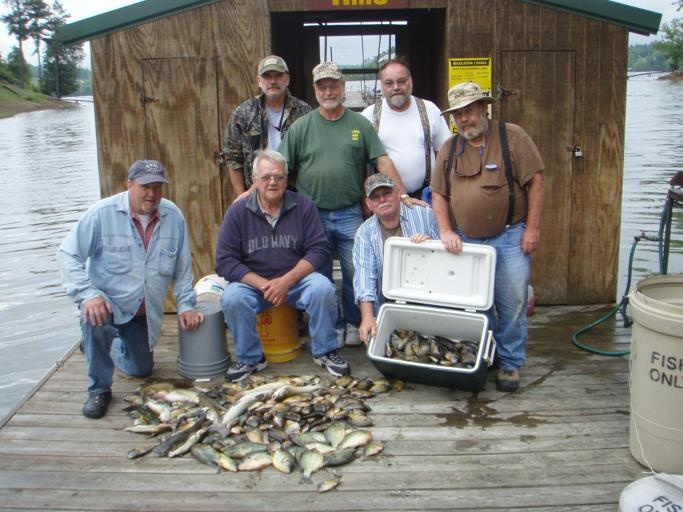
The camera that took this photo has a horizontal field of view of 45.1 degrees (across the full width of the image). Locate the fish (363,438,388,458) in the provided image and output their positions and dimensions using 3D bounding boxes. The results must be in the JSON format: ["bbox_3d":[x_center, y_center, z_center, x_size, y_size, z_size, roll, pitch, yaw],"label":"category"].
[{"bbox_3d":[0.274,1.608,6.901,0.144,0.070,0.222,9,18,36],"label":"fish"}]

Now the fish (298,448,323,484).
[{"bbox_3d":[-0.269,1.700,6.715,0.180,0.147,0.258,6,17,29],"label":"fish"}]

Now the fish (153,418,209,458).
[{"bbox_3d":[-1.390,1.546,7.068,0.494,0.161,0.178,-27,-3,-30],"label":"fish"}]

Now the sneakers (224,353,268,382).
[{"bbox_3d":[-0.914,1.092,8.116,0.455,0.202,0.170,-12,19,-27],"label":"sneakers"}]

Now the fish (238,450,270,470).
[{"bbox_3d":[-0.710,1.681,6.765,0.313,0.093,0.120,-11,10,-4],"label":"fish"}]

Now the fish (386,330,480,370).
[{"bbox_3d":[0.851,0.875,7.701,0.612,0.193,0.371,7,36,15],"label":"fish"}]

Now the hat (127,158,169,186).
[{"bbox_3d":[-1.835,-0.775,7.652,0.239,0.159,0.337,3,0,-34],"label":"hat"}]

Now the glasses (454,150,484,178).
[{"bbox_3d":[1.168,-0.846,7.533,0.208,0.253,0.088,5,-10,35],"label":"glasses"}]

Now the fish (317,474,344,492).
[{"bbox_3d":[-0.086,1.817,6.586,0.237,0.063,0.126,-15,19,-40],"label":"fish"}]

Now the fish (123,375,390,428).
[{"bbox_3d":[-0.774,1.294,7.408,2.357,0.307,0.885,-2,15,1],"label":"fish"}]

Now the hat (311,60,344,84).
[{"bbox_3d":[-0.136,-1.838,8.301,0.302,0.194,0.261,-2,15,1],"label":"hat"}]

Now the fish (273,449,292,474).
[{"bbox_3d":[-0.486,1.679,6.764,0.204,0.125,0.135,10,19,39],"label":"fish"}]

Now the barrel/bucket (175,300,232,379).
[{"bbox_3d":[-1.356,0.814,8.191,0.653,0.632,0.629,1,13,0],"label":"barrel/bucket"}]

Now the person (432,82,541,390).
[{"bbox_3d":[1.355,-0.207,7.693,0.926,2.765,0.539,12,21,41],"label":"person"}]

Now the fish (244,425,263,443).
[{"bbox_3d":[-0.739,1.515,6.974,0.140,0.065,0.148,-4,15,-8],"label":"fish"}]

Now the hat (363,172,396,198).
[{"bbox_3d":[0.355,-0.673,7.796,0.208,0.154,0.272,-27,-11,11],"label":"hat"}]

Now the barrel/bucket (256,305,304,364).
[{"bbox_3d":[-0.593,0.758,8.483,0.542,0.544,0.533,-5,12,1],"label":"barrel/bucket"}]

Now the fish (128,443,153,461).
[{"bbox_3d":[-1.695,1.650,6.932,0.208,0.030,0.078,-10,51,-47],"label":"fish"}]

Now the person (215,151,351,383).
[{"bbox_3d":[-0.604,0.062,8.160,1.364,2.044,1.083,-2,23,-5],"label":"person"}]

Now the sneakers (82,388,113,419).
[{"bbox_3d":[-2.231,1.327,7.479,0.199,0.190,0.259,-2,15,3],"label":"sneakers"}]

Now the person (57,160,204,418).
[{"bbox_3d":[-1.968,0.359,7.684,1.272,1.946,0.758,-11,18,-29],"label":"person"}]

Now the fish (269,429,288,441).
[{"bbox_3d":[-0.539,1.512,6.970,0.120,0.033,0.081,26,36,34],"label":"fish"}]

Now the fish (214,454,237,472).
[{"bbox_3d":[-0.949,1.698,6.757,0.157,0.047,0.096,36,65,28],"label":"fish"}]
